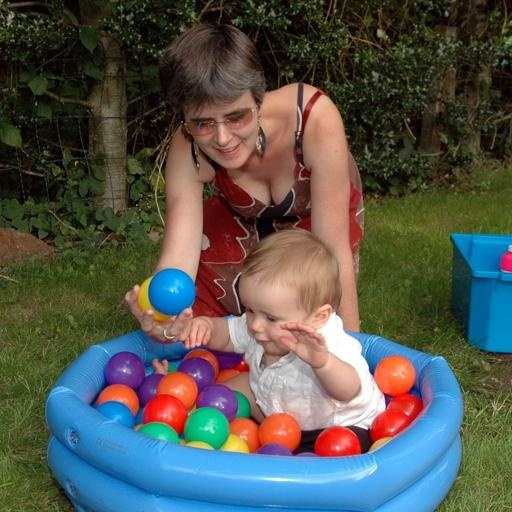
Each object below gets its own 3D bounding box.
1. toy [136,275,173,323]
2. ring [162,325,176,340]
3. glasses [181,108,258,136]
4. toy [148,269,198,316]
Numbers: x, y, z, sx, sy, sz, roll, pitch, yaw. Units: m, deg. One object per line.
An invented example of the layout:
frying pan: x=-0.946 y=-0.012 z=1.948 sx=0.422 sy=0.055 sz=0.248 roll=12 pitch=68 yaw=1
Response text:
toy: x=-0.354 y=0.148 z=1.791 sx=0.156 sy=0.145 sz=0.139 roll=2 pitch=0 yaw=2
ring: x=-0.291 y=0.262 z=1.847 sx=0.047 sy=0.029 sz=0.042 roll=6 pitch=28 yaw=0
glasses: x=-0.107 y=-0.447 z=1.822 sx=0.245 sy=0.092 sz=0.125 roll=-3 pitch=13 yaw=-7
toy: x=-0.274 y=0.130 z=1.771 sx=0.151 sy=0.156 sz=0.130 roll=-4 pitch=14 yaw=-7
